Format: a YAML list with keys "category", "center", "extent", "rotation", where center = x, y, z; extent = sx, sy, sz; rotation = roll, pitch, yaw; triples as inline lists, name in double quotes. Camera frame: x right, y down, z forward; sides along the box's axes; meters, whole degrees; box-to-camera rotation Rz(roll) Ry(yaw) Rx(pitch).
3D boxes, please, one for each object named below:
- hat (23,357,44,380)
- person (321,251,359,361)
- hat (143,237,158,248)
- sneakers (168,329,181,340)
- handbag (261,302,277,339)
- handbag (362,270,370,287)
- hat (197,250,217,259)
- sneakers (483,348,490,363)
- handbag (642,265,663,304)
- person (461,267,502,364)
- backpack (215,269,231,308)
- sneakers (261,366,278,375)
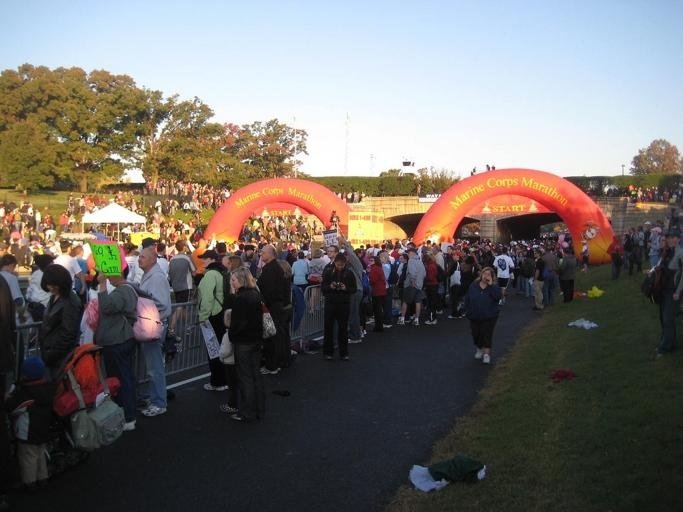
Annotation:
- category: "hat"
  center: [-3.418, 1.209, 5.645]
  extent: [0.243, 0.231, 0.181]
  rotation: [24, 15, 41]
- category: "person"
  center: [-0.062, 1.046, 10.698]
  extent: [0.692, 2.185, 0.470]
  rotation: [1, 5, -1]
- category: "hat"
  center: [-3.980, -0.281, 10.664]
  extent: [0.242, 0.251, 0.262]
  rotation: [12, 17, 41]
- category: "sneakers"
  center: [-2.662, 1.244, 8.152]
  extent: [0.213, 0.102, 0.176]
  rotation: [28, 4, 32]
- category: "handbag"
  center: [-1.123, 1.008, 7.926]
  extent: [0.169, 0.643, 0.614]
  rotation: [0, 5, -6]
- category: "handbag"
  center: [0.609, 0.595, 13.121]
  extent: [0.104, 0.347, 0.237]
  rotation: [-5, -2, 40]
- category: "hat"
  center: [-2.390, -0.032, 8.950]
  extent: [0.374, 0.213, 0.244]
  rotation: [0, 0, 3]
- category: "sneakers"
  center: [3.009, 2.052, 10.588]
  extent: [0.135, 0.169, 0.370]
  rotation: [2, 7, 10]
- category: "handbag"
  center: [5.629, 0.497, 9.321]
  extent: [0.236, 0.686, 0.547]
  rotation: [3, 5, 21]
- category: "person"
  center: [2.934, 1.198, 10.727]
  extent: [0.723, 1.967, 0.767]
  rotation: [2, 5, 17]
- category: "backpack"
  center: [-1.886, 0.531, 8.372]
  extent: [0.168, 0.597, 0.545]
  rotation: [0, 5, -15]
- category: "sneakers"
  center: [-1.369, 2.166, 9.658]
  extent: [0.360, 0.176, 0.152]
  rotation: [3, 2, 24]
